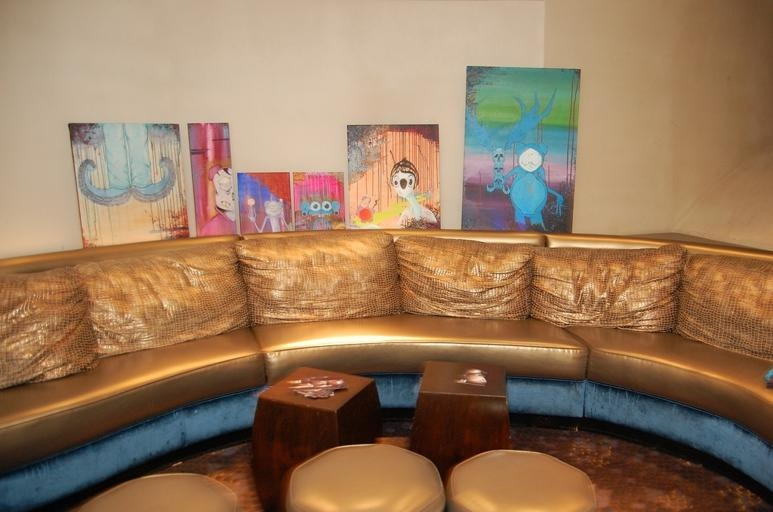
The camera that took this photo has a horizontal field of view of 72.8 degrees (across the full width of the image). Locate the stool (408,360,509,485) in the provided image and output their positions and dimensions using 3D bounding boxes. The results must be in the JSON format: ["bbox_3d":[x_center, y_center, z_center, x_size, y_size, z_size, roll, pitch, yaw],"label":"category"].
[{"bbox_3d":[0.392,0.858,2.855,0.534,0.456,0.515,1,3,8],"label":"stool"}]
